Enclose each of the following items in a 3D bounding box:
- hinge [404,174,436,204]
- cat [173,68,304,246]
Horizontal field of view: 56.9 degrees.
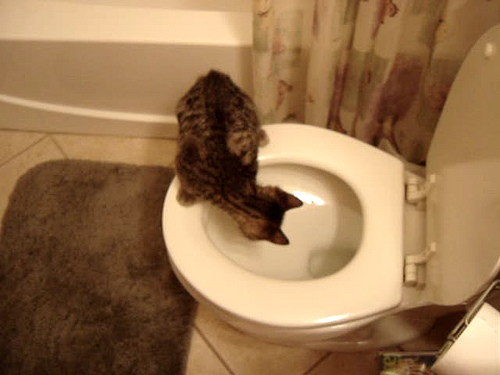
[{"bbox_3d":[0.509,-0.016,1.398,0.065,0.122,0.093,3,60,2],"label":"hinge"},{"bbox_3d":[-0.013,-0.127,1.695,0.364,0.794,0.490,4,74,13],"label":"cat"}]
